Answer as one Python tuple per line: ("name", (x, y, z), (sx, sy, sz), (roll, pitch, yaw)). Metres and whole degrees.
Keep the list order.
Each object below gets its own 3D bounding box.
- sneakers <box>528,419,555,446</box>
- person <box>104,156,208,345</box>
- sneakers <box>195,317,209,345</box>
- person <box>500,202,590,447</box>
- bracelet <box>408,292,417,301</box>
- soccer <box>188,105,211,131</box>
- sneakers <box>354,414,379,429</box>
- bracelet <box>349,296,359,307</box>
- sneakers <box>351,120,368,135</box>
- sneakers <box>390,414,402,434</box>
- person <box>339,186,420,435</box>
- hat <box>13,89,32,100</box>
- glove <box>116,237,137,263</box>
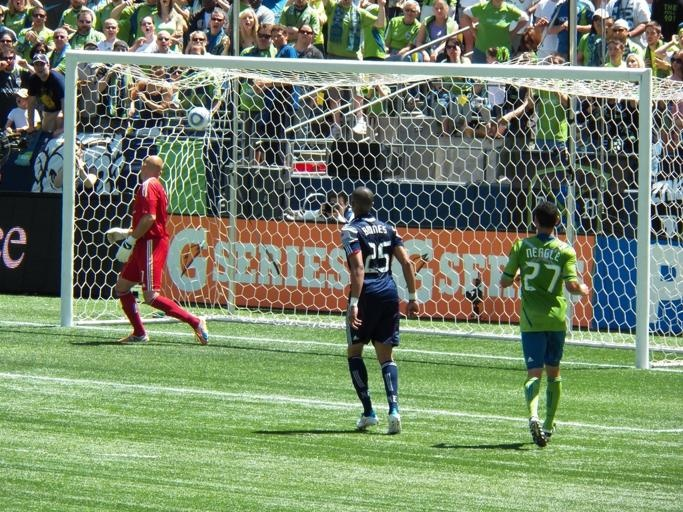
("sneakers", (1.819, 1.686, 11.385), (0.117, 0.206, 0.362), (-7, -18, 14))
("person", (-2.319, -0.044, 15.091), (0.966, 2.321, 0.519), (-1, 7, -13))
("sneakers", (-1.758, 1.008, 15.232), (0.133, 0.375, 0.104), (-18, 19, -29))
("person", (1.888, 0.645, 11.692), (0.696, 2.314, 0.660), (-4, 9, -34))
("bracelet", (0.685, 0.424, 12.134), (0.075, 0.102, 0.090), (0, -1, 2))
("soccer", (-2.034, -1.939, 17.204), (0.319, 0.310, 0.489), (0, 9, -9))
("sneakers", (0.221, 1.660, 11.910), (0.094, 0.180, 0.275), (-4, -9, -32))
("bracelet", (0.094, 0.454, 11.775), (0.069, 0.100, 0.078), (6, 9, 21))
("sneakers", (0.253, -2.004, 18.921), (0.212, 0.297, 0.158), (-2, -15, 3))
("sneakers", (0.492, 1.647, 11.844), (0.125, 0.219, 0.204), (1, 8, 2))
("person", (0.306, 0.550, 11.906), (0.667, 2.354, 0.547), (1, 7, 6))
("hat", (-5.636, -2.856, 21.428), (0.258, 0.184, 0.470), (1, 6, -2))
("glove", (-2.678, -0.099, 14.969), (0.195, 0.343, 0.091), (3, 26, -32))
